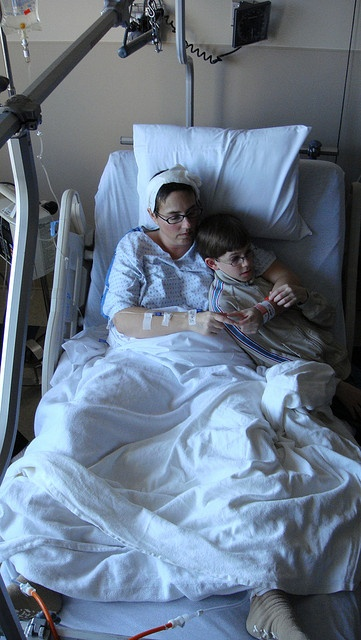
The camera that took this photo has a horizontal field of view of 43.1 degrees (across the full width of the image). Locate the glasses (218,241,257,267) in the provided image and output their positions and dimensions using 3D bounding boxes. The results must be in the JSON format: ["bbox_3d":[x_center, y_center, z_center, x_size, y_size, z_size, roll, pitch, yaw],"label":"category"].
[{"bbox_3d":[0.188,-0.203,1.451,0.082,0.031,0.086,-15,8,37],"label":"glasses"}]
